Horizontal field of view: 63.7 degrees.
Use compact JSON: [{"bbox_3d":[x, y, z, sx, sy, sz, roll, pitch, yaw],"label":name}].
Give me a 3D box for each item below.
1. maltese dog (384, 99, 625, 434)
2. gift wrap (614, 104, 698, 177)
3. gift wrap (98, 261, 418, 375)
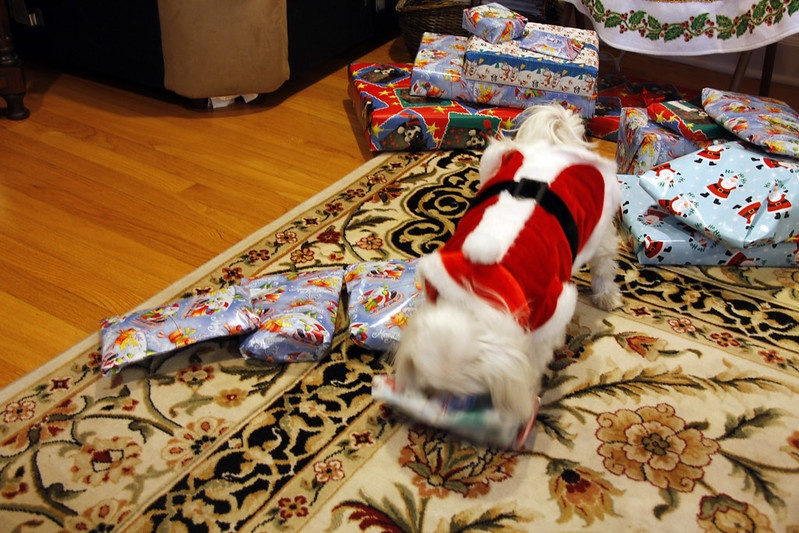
[{"bbox_3d":[0.320,-0.044,1.871,0.508,0.516,1.196,17,47,17],"label":"maltese dog"},{"bbox_3d":[0.985,-0.510,2.671,0.364,0.266,0.459,0,35,3],"label":"gift wrap"},{"bbox_3d":[-0.338,0.144,2.094,1.212,0.132,0.375,-8,41,-4],"label":"gift wrap"}]
